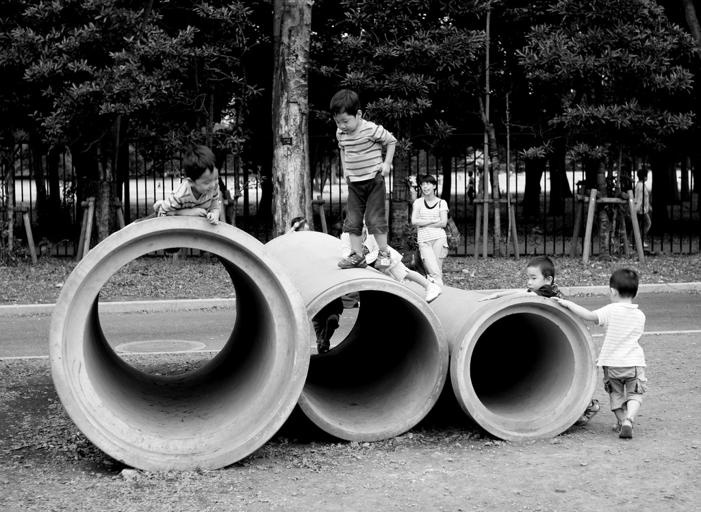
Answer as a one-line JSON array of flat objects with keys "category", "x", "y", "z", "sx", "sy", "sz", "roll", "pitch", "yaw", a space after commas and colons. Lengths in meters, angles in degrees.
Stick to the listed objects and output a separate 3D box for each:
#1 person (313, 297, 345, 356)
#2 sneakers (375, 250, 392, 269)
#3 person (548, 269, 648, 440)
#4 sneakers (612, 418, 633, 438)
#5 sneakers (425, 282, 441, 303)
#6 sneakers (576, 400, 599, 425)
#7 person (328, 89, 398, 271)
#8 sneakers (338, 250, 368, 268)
[{"category": "person", "x": -0.268, "y": 0.797, "z": 9.920, "sx": 0.324, "sy": 0.824, "sz": 1.082, "roll": -1, "pitch": 9, "yaw": -6}, {"category": "sneakers", "x": 0.328, "y": 0.041, "z": 9.021, "sx": 0.112, "sy": 0.216, "sz": 0.195, "roll": 0, "pitch": -2, "yaw": -14}, {"category": "person", "x": 2.332, "y": 0.857, "z": 7.694, "sx": 0.769, "sy": 1.522, "sz": 0.794, "roll": 0, "pitch": 1, "yaw": 32}, {"category": "sneakers", "x": 2.449, "y": 1.505, "z": 7.491, "sx": 0.155, "sy": 0.188, "sz": 0.256, "roll": 2, "pitch": 9, "yaw": 11}, {"category": "sneakers", "x": 0.847, "y": 0.368, "z": 8.524, "sx": 0.150, "sy": 0.171, "sz": 0.291, "roll": 1, "pitch": 9, "yaw": 8}, {"category": "sneakers", "x": 2.177, "y": 1.435, "z": 7.724, "sx": 0.260, "sy": 0.114, "sz": 0.084, "roll": -48, "pitch": 24, "yaw": -20}, {"category": "person", "x": 0.121, "y": -0.757, "z": 8.703, "sx": 0.635, "sy": 1.903, "sz": 1.236, "roll": 2, "pitch": 9, "yaw": 12}, {"category": "sneakers", "x": 0.019, "y": 0.025, "z": 8.097, "sx": 0.283, "sy": 0.153, "sz": 0.115, "roll": -2, "pitch": 10, "yaw": -21}]
